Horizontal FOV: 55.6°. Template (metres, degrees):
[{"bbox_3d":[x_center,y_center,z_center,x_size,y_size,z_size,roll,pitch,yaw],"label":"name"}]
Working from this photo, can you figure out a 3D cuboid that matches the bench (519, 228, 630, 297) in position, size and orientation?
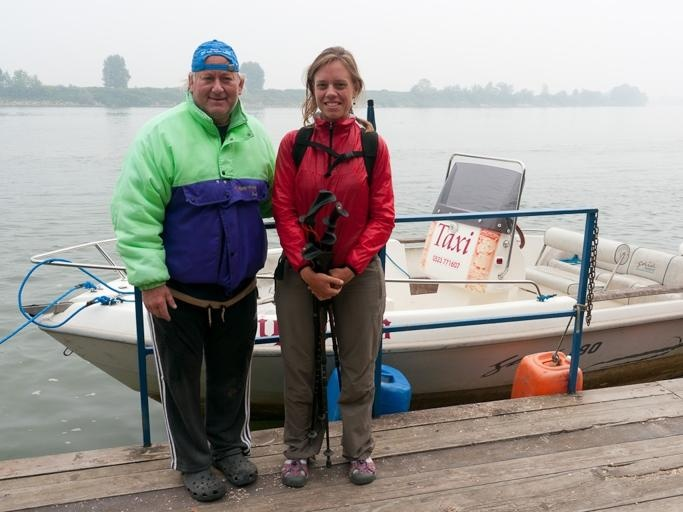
[{"bbox_3d":[2.422,0.103,6.835,0.847,0.596,1.032,-8,15,-22],"label":"bench"}]

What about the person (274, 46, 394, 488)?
[{"bbox_3d":[-0.047,0.084,3.498,0.656,2.334,0.740,1,20,-5],"label":"person"}]

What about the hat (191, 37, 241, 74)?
[{"bbox_3d":[-0.647,-1.027,3.338,0.225,0.164,0.095,-1,20,-10],"label":"hat"}]

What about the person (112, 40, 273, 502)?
[{"bbox_3d":[-0.691,0.093,3.450,0.695,2.376,0.744,16,24,32],"label":"person"}]
